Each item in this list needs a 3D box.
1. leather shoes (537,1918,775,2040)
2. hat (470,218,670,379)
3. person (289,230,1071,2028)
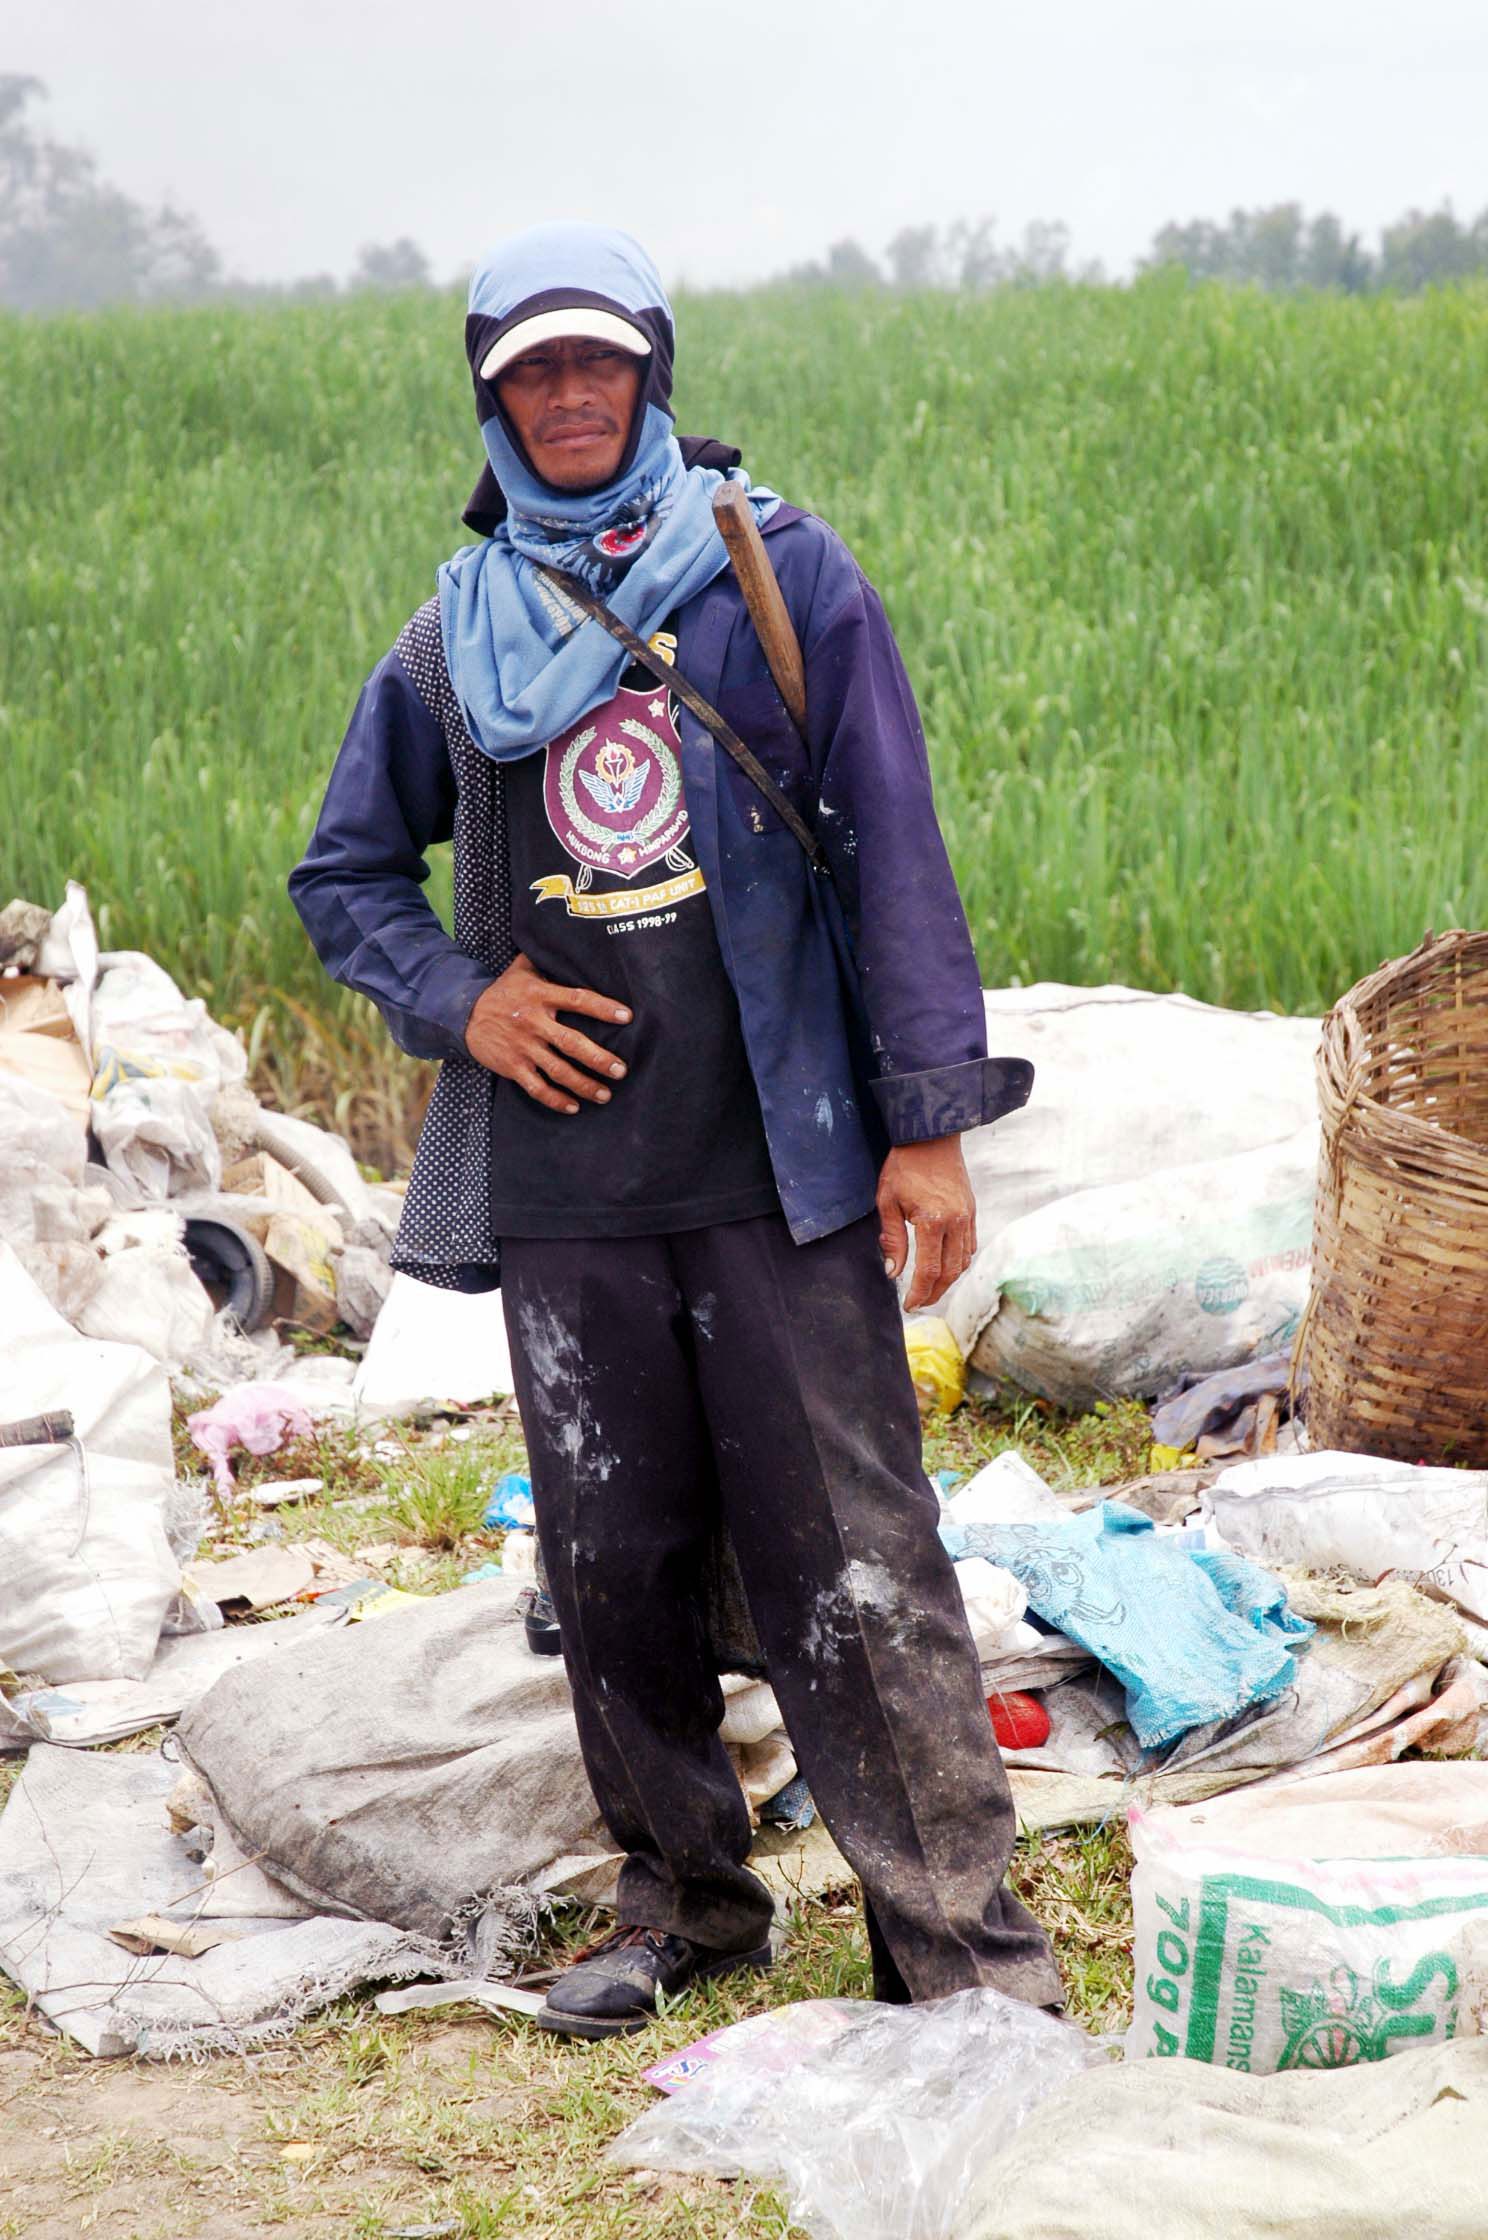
[{"bbox_3d":[-0.098,0.937,2.487,0.257,0.106,0.091,-6,2,-38],"label":"leather shoes"},{"bbox_3d":[-0.197,-0.886,2.390,0.217,0.150,0.303,-3,9,11],"label":"hat"},{"bbox_3d":[-0.062,0.015,2.359,0.778,1.906,0.483,-5,11,26],"label":"person"}]
